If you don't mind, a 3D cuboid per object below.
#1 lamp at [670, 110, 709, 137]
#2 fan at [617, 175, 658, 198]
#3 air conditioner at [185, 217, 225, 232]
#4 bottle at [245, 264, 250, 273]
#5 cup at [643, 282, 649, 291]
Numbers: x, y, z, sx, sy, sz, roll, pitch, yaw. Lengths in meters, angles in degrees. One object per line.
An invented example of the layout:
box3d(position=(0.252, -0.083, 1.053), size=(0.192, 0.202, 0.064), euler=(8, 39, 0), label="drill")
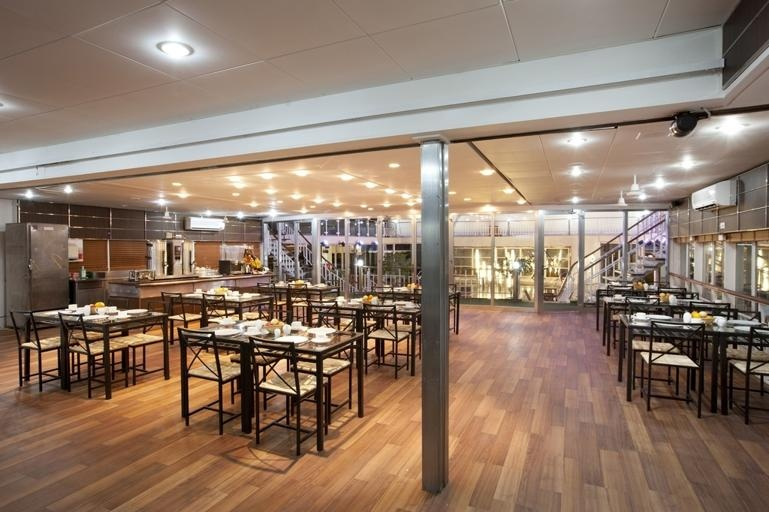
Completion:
box3d(position=(2.923, -1.304, 4.760), size=(0.302, 0.224, 0.136), euler=(-24, 5, 10), label="lamp")
box3d(position=(4.534, -1.265, 8.773), size=(0.415, 0.246, 0.409), euler=(-1, -2, 11), label="fan")
box3d(position=(-5.119, -0.904, 13.973), size=(0.417, 0.448, 1.368), euler=(3, 5, 24), label="air conditioner")
box3d(position=(-3.597, 0.343, 12.786), size=(0.170, 0.237, 0.491), euler=(-1, 5, -16), label="bottle")
box3d(position=(5.407, 0.654, 10.136), size=(0.127, 0.114, 0.212), euler=(3, -13, 9), label="cup")
